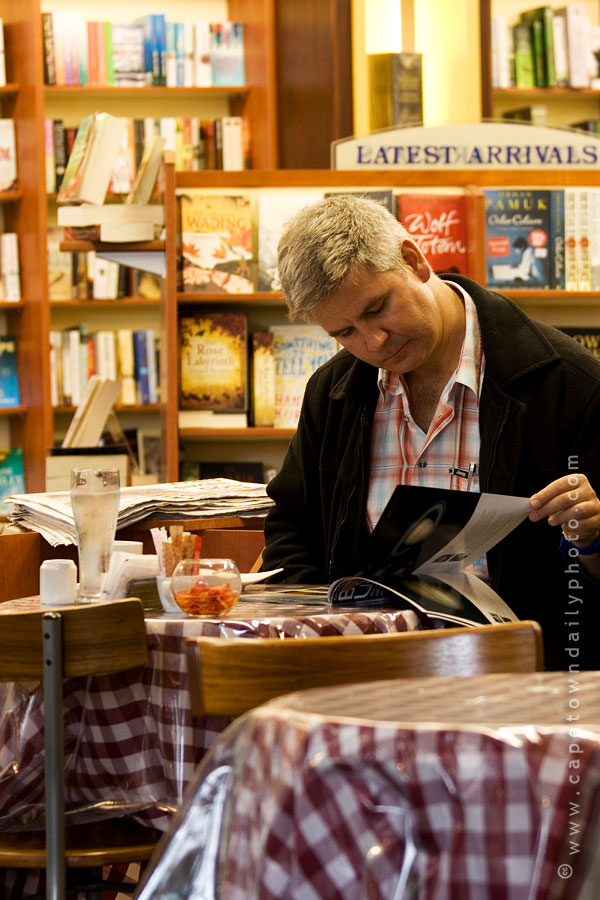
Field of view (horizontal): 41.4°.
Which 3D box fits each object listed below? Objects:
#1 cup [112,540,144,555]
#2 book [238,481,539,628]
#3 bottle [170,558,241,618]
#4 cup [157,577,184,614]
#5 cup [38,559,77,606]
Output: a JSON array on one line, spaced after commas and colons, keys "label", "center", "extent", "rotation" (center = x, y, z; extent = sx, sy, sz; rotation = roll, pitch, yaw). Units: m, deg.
[{"label": "cup", "center": [-0.310, 0.173, 1.421], "extent": [0.041, 0.025, 0.041], "rotation": [2, -4, 0]}, {"label": "book", "center": [0.082, 0.139, 1.256], "extent": [0.423, 0.185, 0.331], "rotation": [7, 16, 12]}, {"label": "bottle", "center": [-0.140, 0.194, 1.142], "extent": [0.080, 0.058, 0.088], "rotation": [0, -1, 0]}, {"label": "cup", "center": [-0.205, 0.227, 1.230], "extent": [0.046, 0.051, 0.053], "rotation": [-1, -5, 13]}, {"label": "cup", "center": [-0.370, 0.203, 1.221], "extent": [0.071, 0.076, 0.069], "rotation": [2, -1, 0]}]
